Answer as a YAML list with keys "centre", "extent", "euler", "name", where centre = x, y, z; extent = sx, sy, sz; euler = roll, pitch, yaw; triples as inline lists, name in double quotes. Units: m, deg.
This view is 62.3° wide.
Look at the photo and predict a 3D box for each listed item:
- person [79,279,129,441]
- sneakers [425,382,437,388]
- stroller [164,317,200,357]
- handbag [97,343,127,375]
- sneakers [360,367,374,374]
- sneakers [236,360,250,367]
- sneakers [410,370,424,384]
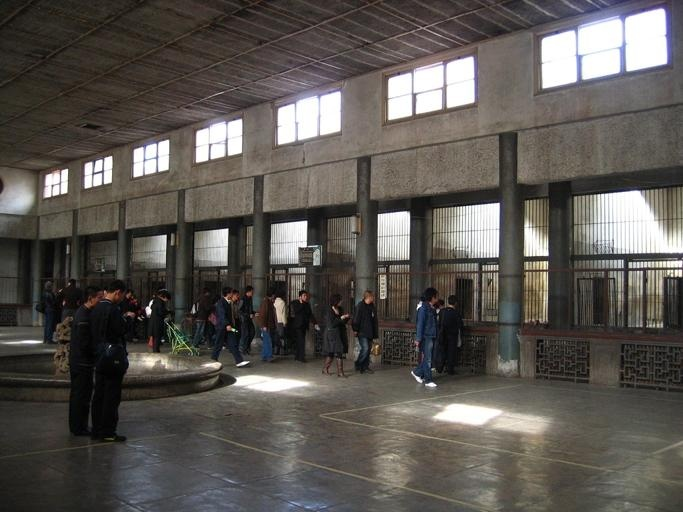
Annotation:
- centre: [-3.460, 1.516, 8.412]
  extent: [0.506, 2.312, 0.710]
  euler: [1, -2, -25]
  name: "person"
- centre: [2.031, 2.939, 12.995]
  extent: [0.268, 0.115, 0.109]
  euler: [-6, -5, 44]
  name: "sneakers"
- centre: [-5.171, 2.646, 18.424]
  extent: [0.559, 0.975, 0.804]
  euler: [-10, -31, 27]
  name: "stroller"
- centre: [-3.375, 1.455, 8.271]
  extent: [0.271, 0.534, 0.508]
  euler: [-4, -12, 43]
  name: "handbag"
- centre: [0.672, 3.095, 15.336]
  extent: [0.375, 0.181, 0.146]
  euler: [-1, -3, 1]
  name: "sneakers"
- centre: [-2.761, 3.010, 15.810]
  extent: [0.369, 0.177, 0.152]
  euler: [-5, 4, -3]
  name: "sneakers"
- centre: [1.820, 2.912, 13.650]
  extent: [0.183, 0.154, 0.461]
  euler: [-15, -53, 19]
  name: "sneakers"
